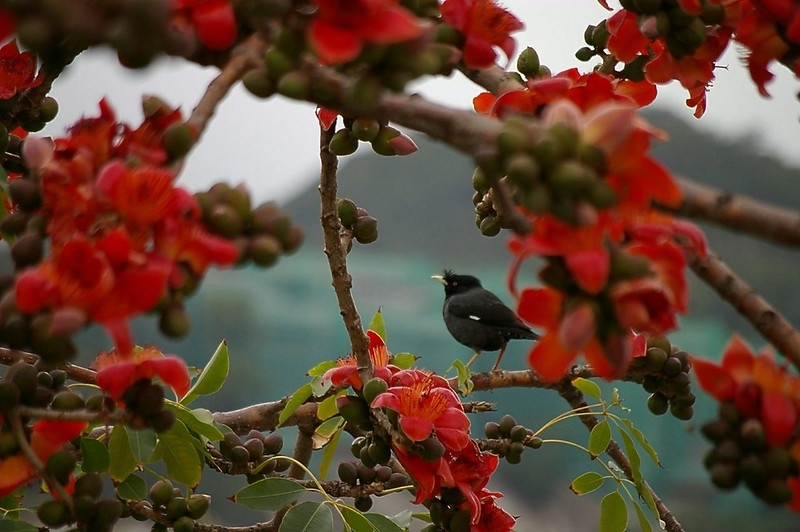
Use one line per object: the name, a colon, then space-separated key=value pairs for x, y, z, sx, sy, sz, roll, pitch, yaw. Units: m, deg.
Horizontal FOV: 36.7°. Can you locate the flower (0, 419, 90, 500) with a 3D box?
flower: x=-0.497 y=0.267 z=1.682 sx=0.120 sy=0.117 sz=0.041 roll=-25 pitch=-35 yaw=20

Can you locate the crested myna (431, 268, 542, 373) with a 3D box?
crested myna: x=0.334 y=0.212 z=4.482 sx=0.532 sy=0.374 sz=0.192 roll=1 pitch=-17 yaw=35

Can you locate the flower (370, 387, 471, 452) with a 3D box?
flower: x=0.040 y=0.247 z=1.996 sx=0.130 sy=0.069 sz=0.112 roll=14 pitch=19 yaw=-45
